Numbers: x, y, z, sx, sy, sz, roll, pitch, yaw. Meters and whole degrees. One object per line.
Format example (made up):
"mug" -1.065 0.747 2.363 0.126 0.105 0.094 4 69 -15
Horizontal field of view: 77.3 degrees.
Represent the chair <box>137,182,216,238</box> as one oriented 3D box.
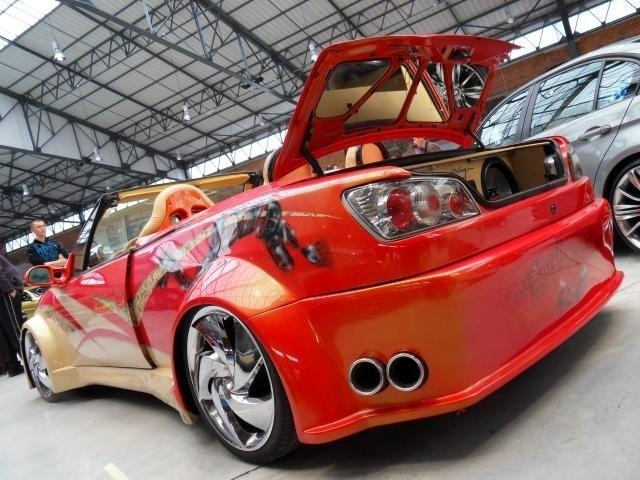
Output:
"chair" -0.911 -0.211 2.548 0.449 0.164 0.332 -26 1 28
